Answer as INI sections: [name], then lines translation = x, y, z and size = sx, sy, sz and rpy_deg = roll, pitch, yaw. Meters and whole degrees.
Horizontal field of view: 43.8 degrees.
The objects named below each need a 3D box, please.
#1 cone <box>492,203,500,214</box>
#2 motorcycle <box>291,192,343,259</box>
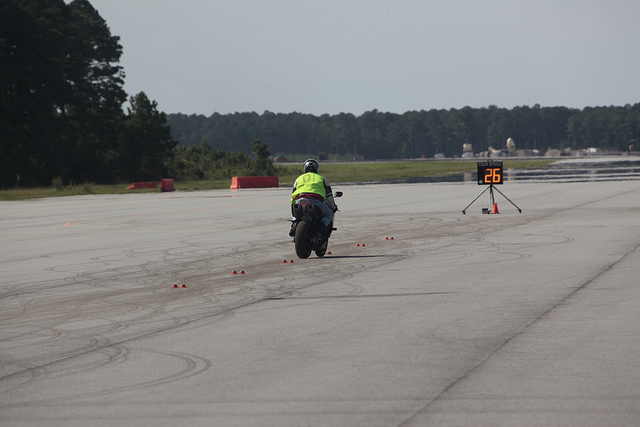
[cone]
translation = 6.180, -0.128, 27.996
size = 0.319, 0.311, 0.322
rpy_deg = -2, -1, -25
[motorcycle]
translation = -0.212, 0.372, 18.287
size = 0.780, 1.347, 0.500
rpy_deg = -2, 5, -9
